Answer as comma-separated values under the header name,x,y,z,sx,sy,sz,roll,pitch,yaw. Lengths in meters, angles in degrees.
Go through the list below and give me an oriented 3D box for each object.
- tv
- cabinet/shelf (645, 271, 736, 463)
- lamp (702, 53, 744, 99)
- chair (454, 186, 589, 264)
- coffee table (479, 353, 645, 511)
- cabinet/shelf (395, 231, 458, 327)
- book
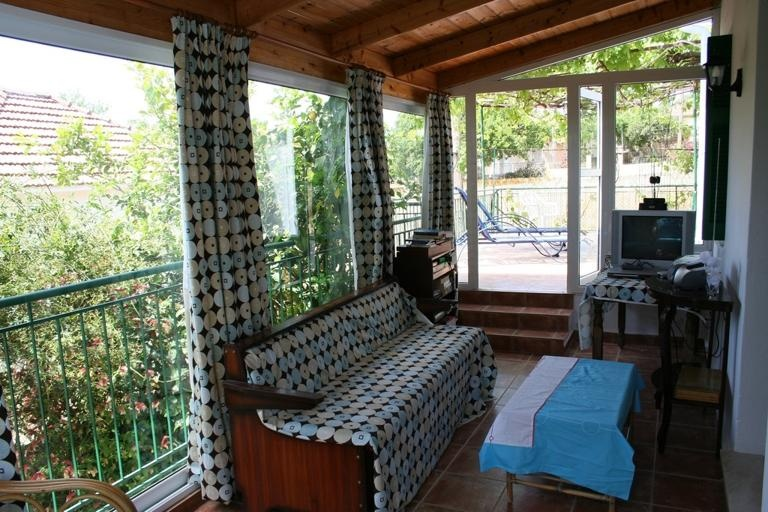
name,x,y,z,sx,sy,sz,roll,pitch,yaw
tv,2.905,-0.199,6.036,1.083,0.889,0.596,3,6,32
cabinet/shelf,2.659,0.980,4.712,0.540,1.187,1.404,3,8,29
lamp,2.899,-1.538,4.635,0.258,0.334,0.165,12,-3,17
chair,1.996,-0.473,8.454,1.492,0.825,1.142,1,13,12
coffee table,1.328,1.338,4.040,0.911,0.580,1.206,5,21,26
cabinet/shelf,0.454,0.267,6.073,0.398,0.929,1.006,-1,11,15
book,0.500,0.224,6.094,0.378,0.906,0.974,0,10,14
